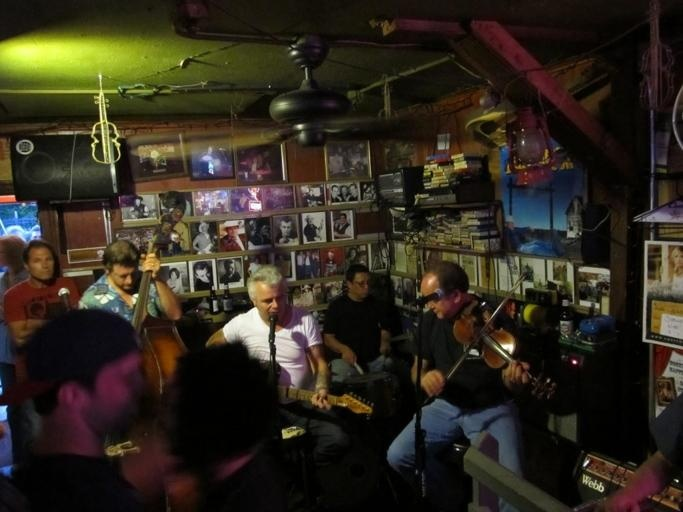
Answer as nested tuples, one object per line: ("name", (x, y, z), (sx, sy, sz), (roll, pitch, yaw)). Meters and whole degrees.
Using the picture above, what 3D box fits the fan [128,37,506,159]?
("fan", (-0.223, -1.067, 3.783), (1.967, 0.686, 1.932), (7, 24, 24))

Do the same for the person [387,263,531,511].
("person", (0.913, 1.012, 4.362), (0.404, 1.960, 0.926), (-5, -31, 29))

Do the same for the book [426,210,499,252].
("book", (1.233, -0.257, 6.006), (0.273, 0.370, 0.933), (-5, 2, -27))

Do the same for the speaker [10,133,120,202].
("speaker", (-2.861, -0.705, 6.006), (1.137, 0.810, 0.623), (0, 1, -11))

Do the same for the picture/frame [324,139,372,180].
("picture/frame", (0.050, -1.200, 7.050), (0.637, 0.524, 0.051), (-3, 5, -21))

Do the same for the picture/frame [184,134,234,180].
("picture/frame", (-1.530, -1.142, 6.528), (0.516, 0.490, 0.051), (-3, 4, -23))

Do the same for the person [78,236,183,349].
("person", (-1.996, 0.375, 5.389), (0.863, 0.525, 1.870), (-2, -32, -27))

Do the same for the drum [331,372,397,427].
("drum", (0.240, 1.256, 5.294), (0.570, 0.418, 0.211), (3, 25, 38))
